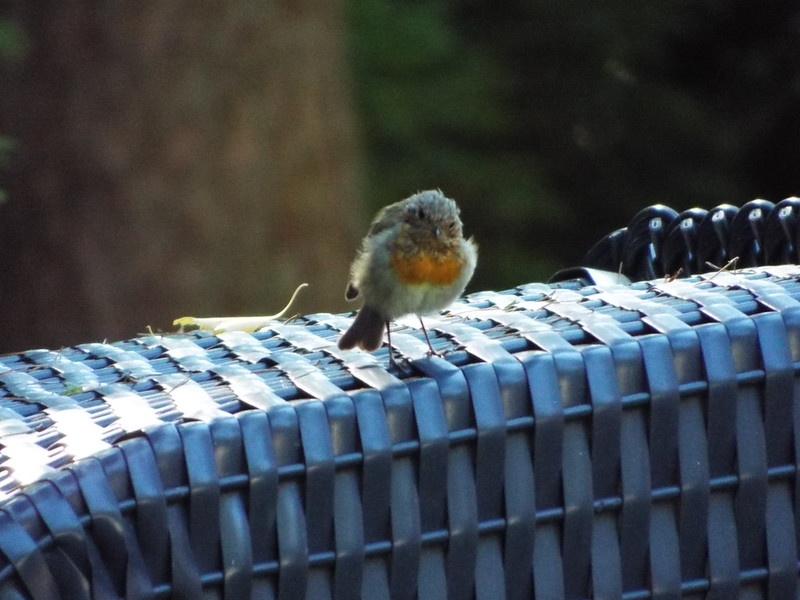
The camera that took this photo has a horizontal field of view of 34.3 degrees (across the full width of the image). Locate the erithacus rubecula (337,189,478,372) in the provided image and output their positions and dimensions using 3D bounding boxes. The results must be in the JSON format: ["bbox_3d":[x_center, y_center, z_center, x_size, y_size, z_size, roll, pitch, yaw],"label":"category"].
[{"bbox_3d":[0.019,-0.047,2.958,0.273,0.418,0.409,4,-84,-24],"label":"erithacus rubecula"}]
